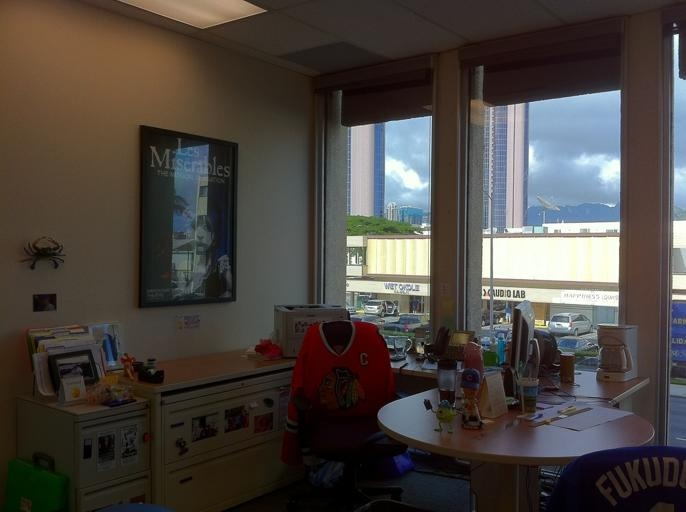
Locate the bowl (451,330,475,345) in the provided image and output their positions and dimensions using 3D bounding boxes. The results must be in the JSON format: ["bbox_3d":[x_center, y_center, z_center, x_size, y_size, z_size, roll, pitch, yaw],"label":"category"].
[{"bbox_3d":[0.951,0.653,4.469,0.172,0.096,0.126,1,25,23],"label":"bowl"}]

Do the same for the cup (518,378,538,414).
[{"bbox_3d":[1.020,0.777,3.129,0.126,0.193,0.127,2,-5,0],"label":"cup"}]

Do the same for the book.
[{"bbox_3d":[-1.813,0.681,3.686,0.106,0.439,0.445,-16,-13,37],"label":"book"}]

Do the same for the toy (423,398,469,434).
[{"bbox_3d":[0.530,0.849,2.965,0.164,0.083,0.134,-1,-4,33],"label":"toy"}]

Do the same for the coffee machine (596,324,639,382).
[{"bbox_3d":[1.951,0.664,4.009,0.229,0.379,0.318,0,1,37],"label":"coffee machine"}]

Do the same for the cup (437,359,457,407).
[{"bbox_3d":[0.665,0.805,3.576,0.151,0.294,0.172,2,-7,2],"label":"cup"}]

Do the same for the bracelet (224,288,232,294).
[{"bbox_3d":[-0.983,0.306,4.834,0.044,0.048,0.083,-2,0,-12],"label":"bracelet"}]

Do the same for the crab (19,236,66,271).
[{"bbox_3d":[-2.042,-0.013,3.855,0.273,0.087,0.267,0,34,-35],"label":"crab"}]
